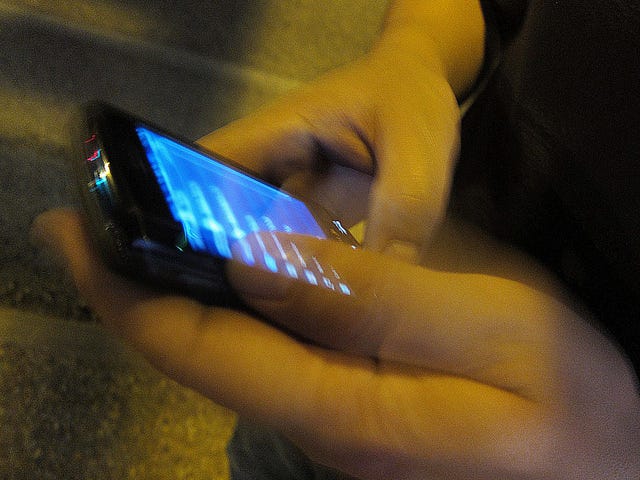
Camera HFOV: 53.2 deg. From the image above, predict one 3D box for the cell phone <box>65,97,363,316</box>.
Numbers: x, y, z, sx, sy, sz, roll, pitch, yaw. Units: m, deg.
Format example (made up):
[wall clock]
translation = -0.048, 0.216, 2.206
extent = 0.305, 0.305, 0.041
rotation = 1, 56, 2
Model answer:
[cell phone]
translation = -0.079, -0.002, 0.522
extent = 0.223, 0.039, 0.140
rotation = 33, 31, -41
